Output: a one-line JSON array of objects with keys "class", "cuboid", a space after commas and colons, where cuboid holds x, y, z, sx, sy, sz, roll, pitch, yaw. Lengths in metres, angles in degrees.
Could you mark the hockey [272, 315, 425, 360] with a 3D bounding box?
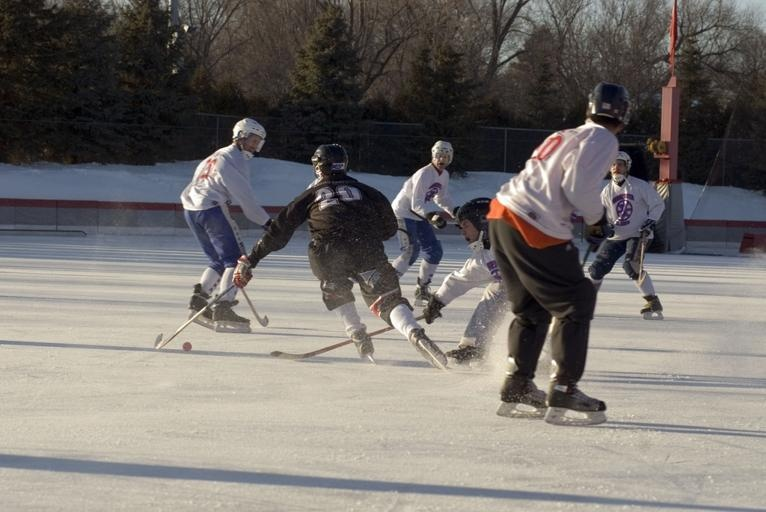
[{"class": "hockey", "cuboid": [-0.575, 1.168, 15.143, 0.490, 0.245, 3.427, 23, 17, 29]}]
